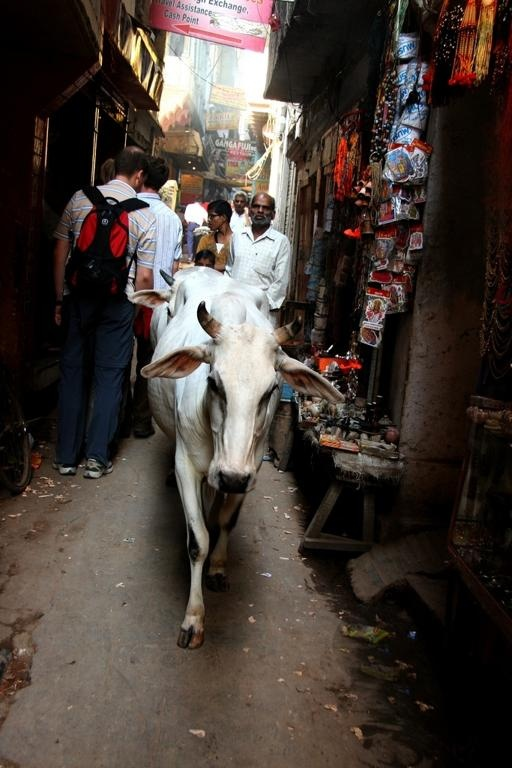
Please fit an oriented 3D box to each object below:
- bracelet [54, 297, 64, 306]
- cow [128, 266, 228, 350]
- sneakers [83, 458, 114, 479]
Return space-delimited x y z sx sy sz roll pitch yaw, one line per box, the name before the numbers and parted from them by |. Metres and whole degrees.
bracelet | -1.464 -0.620 3.933 0.055 0.055 0.057 1 27 -44
cow | -0.490 -0.546 3.393 0.463 0.434 0.788 13 29 -5
sneakers | -1.185 0.619 3.933 0.098 0.112 0.244 3 8 3
